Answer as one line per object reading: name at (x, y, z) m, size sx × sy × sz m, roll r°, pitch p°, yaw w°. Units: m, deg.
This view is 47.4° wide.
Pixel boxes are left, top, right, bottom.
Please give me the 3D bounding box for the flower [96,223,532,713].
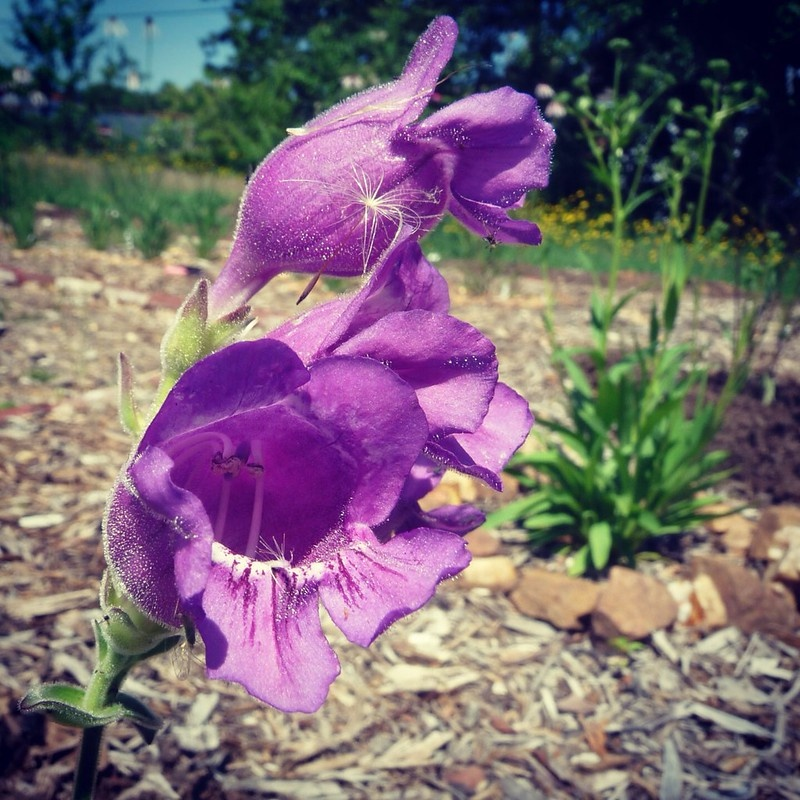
flower at (-0.099, 0.082, 1.307) m, size 0.454 × 0.588 × 0.509 m, roll 14°, pitch 26°, yaw 24°
